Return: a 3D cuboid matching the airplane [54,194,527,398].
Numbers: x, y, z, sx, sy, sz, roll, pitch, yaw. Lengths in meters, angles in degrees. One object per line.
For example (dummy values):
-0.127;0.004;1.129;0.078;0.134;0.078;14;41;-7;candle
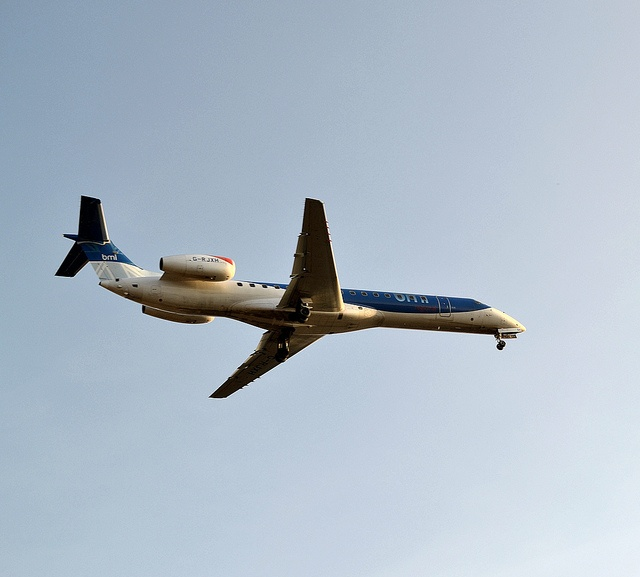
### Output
-0.717;0.263;23.250;8.072;2.111;6.513;6;-32;-26;airplane
